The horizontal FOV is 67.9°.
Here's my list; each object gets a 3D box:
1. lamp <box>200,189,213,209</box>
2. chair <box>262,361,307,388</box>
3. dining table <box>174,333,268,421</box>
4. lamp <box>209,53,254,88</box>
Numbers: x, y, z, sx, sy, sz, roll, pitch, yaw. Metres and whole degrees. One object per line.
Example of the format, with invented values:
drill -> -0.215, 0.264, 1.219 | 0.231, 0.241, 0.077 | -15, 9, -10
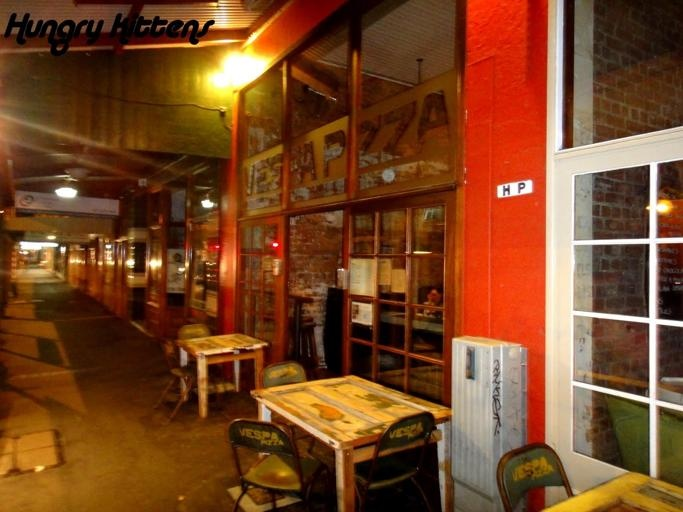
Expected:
lamp -> -2.456, -1.015, 9.285 | 0.110, 0.382, 0.395 | -16, -37, -14
chair -> -0.571, 1.159, 5.027 | 0.284, 0.347, 0.268 | -1, -5, -20
dining table -> -1.494, 1.411, 6.588 | 1.135, 0.970, 1.078 | -2, 4, -23
lamp -> -1.492, -2.627, 7.109 | 0.365, 0.438, 0.636 | 0, -1, -44
